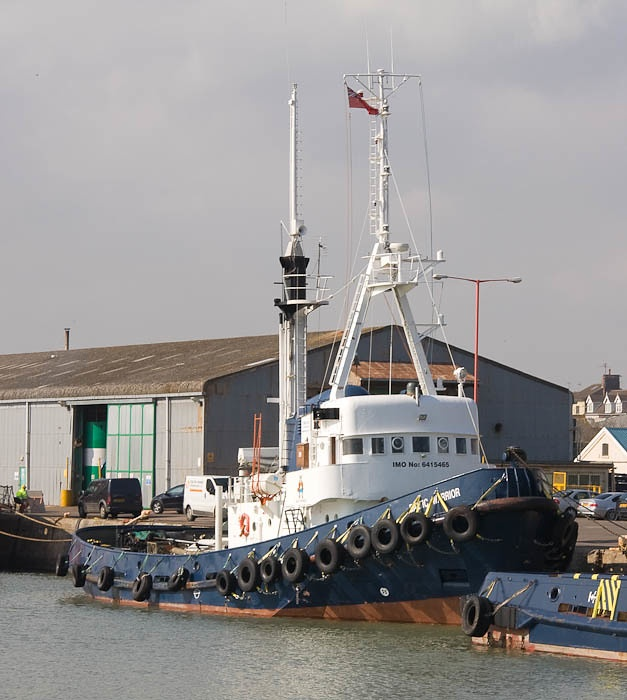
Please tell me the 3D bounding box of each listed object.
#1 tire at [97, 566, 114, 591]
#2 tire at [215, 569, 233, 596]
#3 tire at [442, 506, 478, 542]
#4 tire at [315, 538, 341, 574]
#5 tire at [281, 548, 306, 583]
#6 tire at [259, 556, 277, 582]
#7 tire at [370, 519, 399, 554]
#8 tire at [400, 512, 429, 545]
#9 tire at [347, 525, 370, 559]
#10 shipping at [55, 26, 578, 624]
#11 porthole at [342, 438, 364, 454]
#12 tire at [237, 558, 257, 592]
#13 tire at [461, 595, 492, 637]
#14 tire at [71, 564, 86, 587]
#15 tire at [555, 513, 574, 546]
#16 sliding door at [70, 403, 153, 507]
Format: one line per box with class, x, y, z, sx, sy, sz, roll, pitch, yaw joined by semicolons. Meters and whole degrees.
tire;-4.101;4.541;35.028;0.154;0.426;0.413;9;-17;-20
tire;-1.622;4.243;32.273;0.174;0.483;0.461;-4;3;-28
tire;2.444;2.884;29.331;0.581;0.618;0.227;0;-1;26
tire;0.258;3.557;30.520;0.193;0.577;0.549;11;-5;-41
tire;-0.333;3.773;31.031;0.251;0.583;0.613;6;-12;-29
tire;-0.784;3.927;31.429;0.182;0.475;0.467;6;-12;-31
tire;1.210;3.168;29.943;0.507;0.535;0.198;-6;-9;38
tire;1.699;3.008;29.671;0.495;0.540;0.201;3;-2;37
tire;0.782;3.296;30.252;0.202;0.556;0.530;5;-1;-30
shipping;-0.045;-0.174;36.020;5.548;9.976;16.983;0;1;-25
porthole;0.675;1.694;31.259;0.354;0.359;0.258;0;0;6
tire;-1.186;4.052;31.790;0.155;0.451;0.442;7;-31;-34
tire;2.689;4.386;29.146;0.175;0.502;0.498;11;-37;-22
tire;-4.803;4.626;36.315;0.220;0.599;0.576;-2;15;-12
tire;4.290;3.058;30.045;0.178;0.523;0.363;2;-6;26
sliding door;-6.092;3.244;54.050;0.111;3.244;3.086;6;-6;-43
